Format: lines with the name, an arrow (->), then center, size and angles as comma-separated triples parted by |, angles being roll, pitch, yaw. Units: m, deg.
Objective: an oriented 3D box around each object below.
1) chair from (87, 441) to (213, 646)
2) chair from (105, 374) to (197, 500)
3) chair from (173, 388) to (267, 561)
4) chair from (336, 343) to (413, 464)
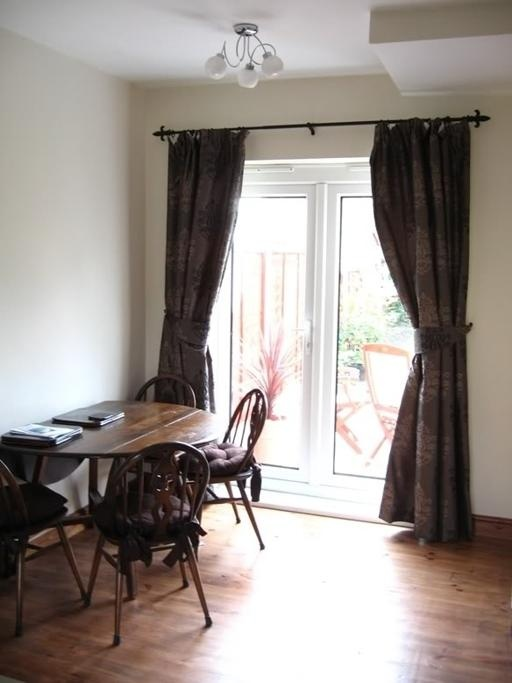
chair -> -0.450, 0.704, 2.474 | 0.503, 0.814, 1.136 | 1, 4, -8
chair -> -0.515, 0.485, 3.584 | 0.492, 0.768, 0.502 | 4, -3, 7
chair -> -0.183, 0.644, 2.998 | 0.441, 0.702, 0.396 | -2, 7, -20
chair -> 0.673, 0.353, 3.695 | 0.548, 0.872, 0.648 | 4, 6, 7
